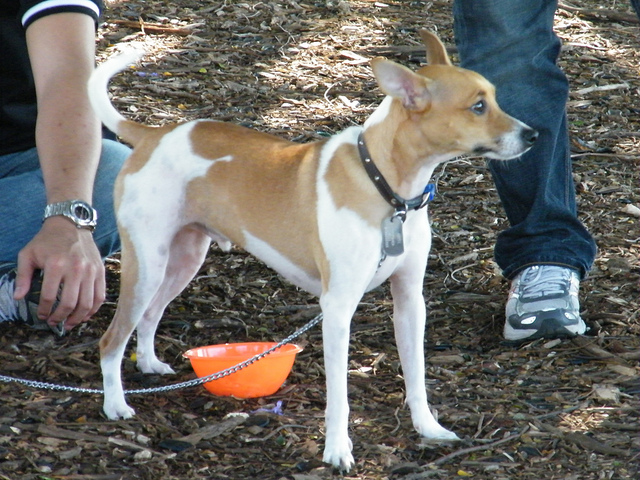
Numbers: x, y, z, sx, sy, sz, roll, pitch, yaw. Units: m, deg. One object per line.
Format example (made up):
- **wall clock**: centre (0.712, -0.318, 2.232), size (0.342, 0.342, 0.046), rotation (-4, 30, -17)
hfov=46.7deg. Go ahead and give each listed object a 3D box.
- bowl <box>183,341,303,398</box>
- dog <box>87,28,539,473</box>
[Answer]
- **bowl**: centre (-0.320, 0.555, 3.190), size (0.494, 0.095, 0.417), rotation (0, 0, 28)
- **dog**: centre (-0.130, 0.009, 2.924), size (1.703, 1.521, 0.728), rotation (3, 20, 14)
